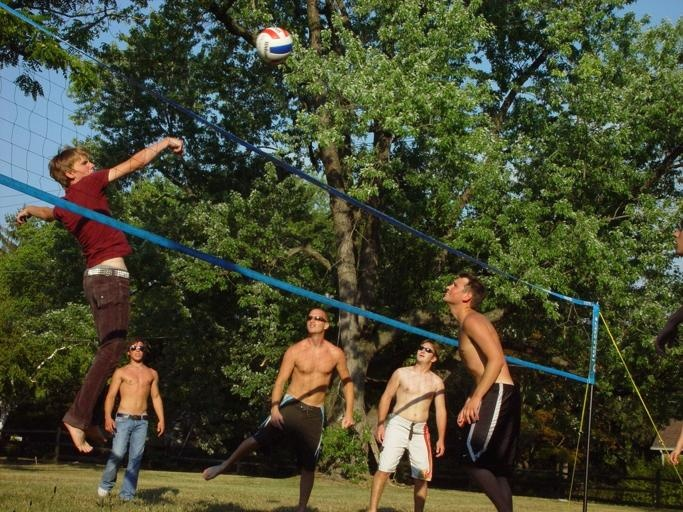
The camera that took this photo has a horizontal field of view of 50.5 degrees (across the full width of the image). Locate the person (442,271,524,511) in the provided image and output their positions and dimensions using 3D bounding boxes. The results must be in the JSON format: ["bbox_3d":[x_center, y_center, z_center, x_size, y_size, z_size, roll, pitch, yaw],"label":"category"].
[{"bbox_3d":[1.975,1.820,10.095,0.775,3.170,1.158,-9,-29,34],"label":"person"}]
